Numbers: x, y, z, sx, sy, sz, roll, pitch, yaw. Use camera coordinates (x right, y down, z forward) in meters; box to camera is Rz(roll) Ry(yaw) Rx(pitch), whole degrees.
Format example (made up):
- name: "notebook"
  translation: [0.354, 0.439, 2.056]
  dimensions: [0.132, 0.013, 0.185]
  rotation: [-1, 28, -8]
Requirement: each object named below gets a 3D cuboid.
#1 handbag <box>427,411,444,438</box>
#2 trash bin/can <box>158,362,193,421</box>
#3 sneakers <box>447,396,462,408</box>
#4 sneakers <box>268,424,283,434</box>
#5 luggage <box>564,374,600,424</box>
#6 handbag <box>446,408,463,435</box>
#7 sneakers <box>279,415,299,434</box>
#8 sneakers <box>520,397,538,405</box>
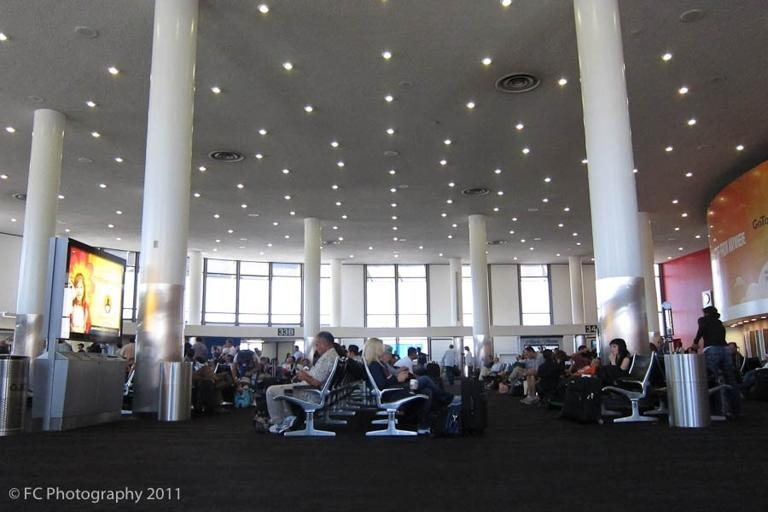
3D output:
- name: "handbag"
  translation: [0.755, 2.476, 8.396]
  dimensions: [0.147, 0.353, 0.455]
  rotation: [3, -13, -16]
- name: "trash bin/can"
  translation: [-3.668, 2.359, 9.863]
  dimensions: [0.540, 0.996, 0.333]
  rotation: [5, -13, -21]
- name: "sneakers"
  translation: [1.081, 2.212, 8.638]
  dimensions: [0.194, 0.139, 0.630]
  rotation: [-2, -13, 6]
- name: "sneakers"
  translation: [-1.680, 2.626, 8.626]
  dimensions: [0.173, 0.123, 0.126]
  rotation: [-9, -15, 34]
- name: "luggage"
  translation: [3.467, 2.477, 9.925]
  dimensions: [0.374, 0.701, 0.724]
  rotation: [8, -12, -13]
- name: "handbag"
  translation: [1.010, 2.396, 8.255]
  dimensions: [0.269, 0.408, 0.083]
  rotation: [4, -13, -20]
- name: "sneakers"
  translation: [-1.497, 2.577, 8.691]
  dimensions: [0.216, 0.259, 0.331]
  rotation: [-5, -13, 18]
- name: "sneakers"
  translation: [3.502, 3.512, 13.715]
  dimensions: [0.472, 0.220, 0.172]
  rotation: [-2, -14, 17]
